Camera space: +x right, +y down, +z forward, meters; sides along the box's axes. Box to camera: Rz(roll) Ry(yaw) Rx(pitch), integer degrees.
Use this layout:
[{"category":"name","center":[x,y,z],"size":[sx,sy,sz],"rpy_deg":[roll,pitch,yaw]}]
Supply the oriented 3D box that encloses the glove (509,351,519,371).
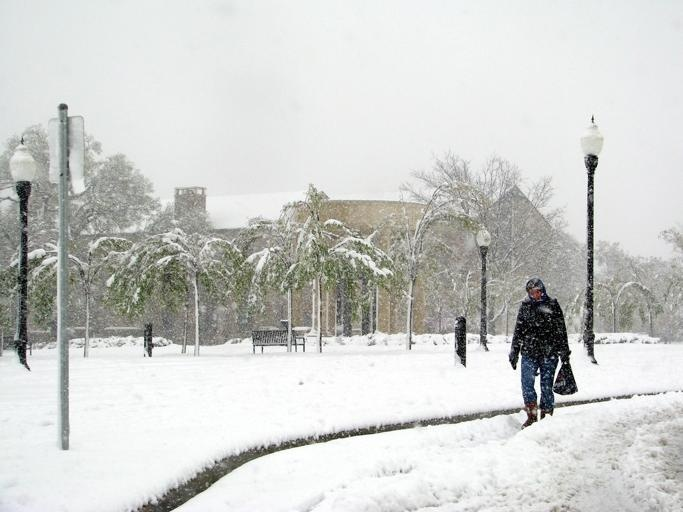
[{"category":"glove","center":[2.807,1.703,12.001],"size":[0.201,0.325,0.108],"rpy_deg":[-2,-3,9]}]

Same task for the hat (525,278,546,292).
[{"category":"hat","center":[3.161,0.434,12.020],"size":[0.213,0.312,0.315],"rpy_deg":[3,2,15]}]

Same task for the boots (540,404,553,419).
[{"category":"boots","center":[3.305,2.489,11.799],"size":[0.200,0.236,0.236],"rpy_deg":[6,-13,-29]}]

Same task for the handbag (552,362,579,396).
[{"category":"handbag","center":[3.644,2.001,11.976],"size":[0.384,0.680,0.572],"rpy_deg":[-2,2,19]}]

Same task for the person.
[{"category":"person","center":[3.151,1.515,11.783],"size":[0.905,2.324,0.371],"rpy_deg":[-2,-6,18]}]
